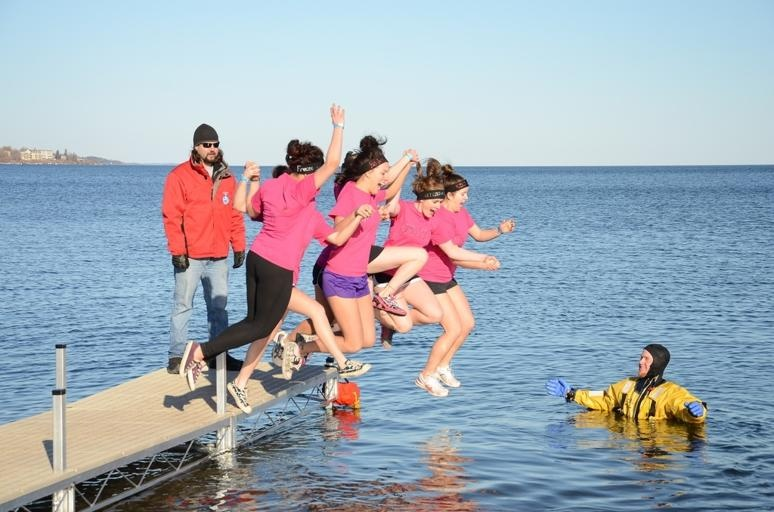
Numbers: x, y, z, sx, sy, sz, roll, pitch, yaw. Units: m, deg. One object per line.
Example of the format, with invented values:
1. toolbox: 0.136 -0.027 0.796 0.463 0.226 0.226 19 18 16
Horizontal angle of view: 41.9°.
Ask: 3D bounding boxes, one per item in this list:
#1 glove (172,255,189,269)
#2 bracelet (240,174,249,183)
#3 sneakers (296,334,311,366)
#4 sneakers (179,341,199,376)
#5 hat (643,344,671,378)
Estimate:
1. glove: -3.437 0.109 17.145 0.314 0.180 0.254 -2 9 -4
2. bracelet: -2.221 -1.230 16.190 0.136 0.035 0.124 26 -31 -18
3. sneakers: -1.404 1.611 17.340 0.339 0.521 0.218 7 4 10
4. sneakers: -2.947 1.574 15.559 0.330 0.527 0.214 15 -5 5
5. hat: 4.769 1.891 18.096 0.408 0.642 0.372 3 16 11
